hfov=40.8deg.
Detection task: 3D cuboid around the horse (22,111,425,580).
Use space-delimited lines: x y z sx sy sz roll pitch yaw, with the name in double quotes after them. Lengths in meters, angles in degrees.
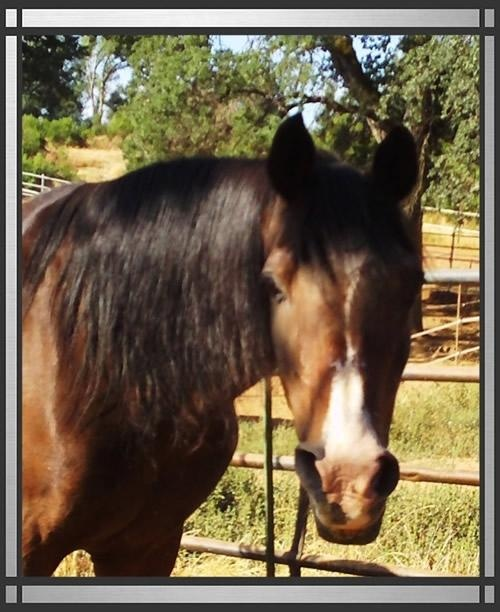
-0.114 0.158 1.755 1.125 1.210 0.361 -3 -10 29 "horse"
